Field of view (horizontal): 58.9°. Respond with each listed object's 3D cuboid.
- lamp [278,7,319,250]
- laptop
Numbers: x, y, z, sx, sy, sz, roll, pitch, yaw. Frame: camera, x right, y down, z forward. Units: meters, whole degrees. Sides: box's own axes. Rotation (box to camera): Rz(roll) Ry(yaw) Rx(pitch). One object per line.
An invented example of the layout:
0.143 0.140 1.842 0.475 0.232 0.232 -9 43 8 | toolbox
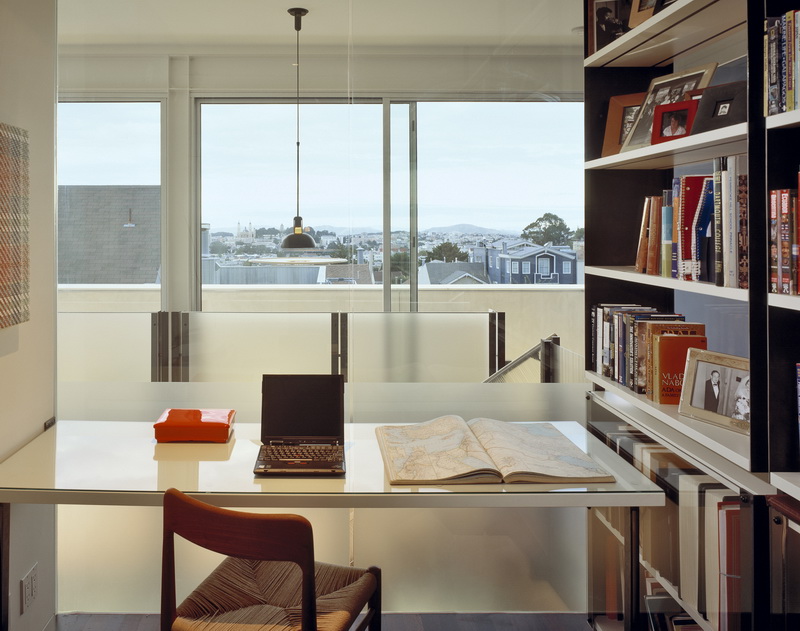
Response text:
-0.489 -0.865 3.307 0.149 1.085 0.260 -2 12 -9 | lamp
-0.333 0.353 2.363 0.271 0.258 0.297 1 3 0 | laptop
